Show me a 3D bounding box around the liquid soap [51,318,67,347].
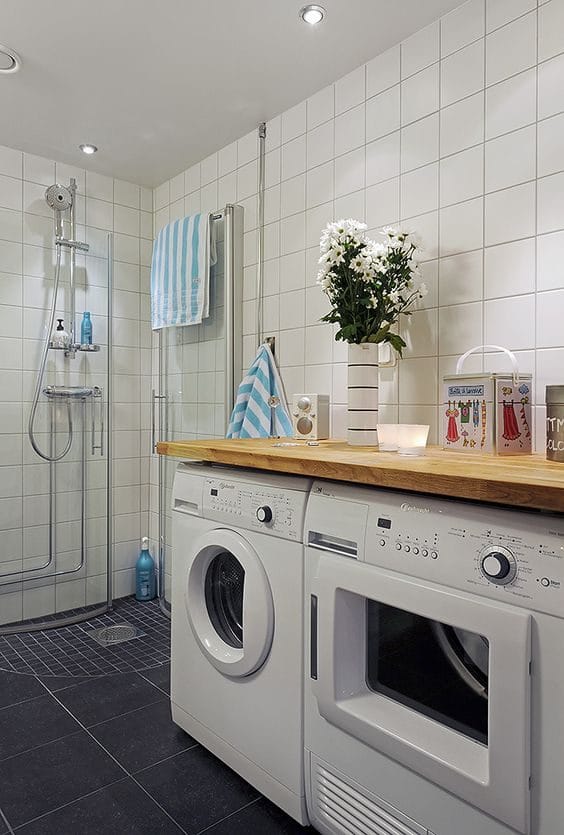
[{"bbox_3d":[-1.009,-0.387,2.753,0.069,0.145,0.096,0,0,-23],"label":"liquid soap"}]

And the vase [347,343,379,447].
[{"bbox_3d":[0.227,-0.065,1.685,0.076,0.284,0.055,0,0,0],"label":"vase"}]

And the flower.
[{"bbox_3d":[0.214,-0.342,1.803,0.324,0.511,0.343,1,-3,1],"label":"flower"}]

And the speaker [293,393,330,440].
[{"bbox_3d":[0.093,-0.001,1.950,0.119,0.143,0.132,0,0,9],"label":"speaker"}]

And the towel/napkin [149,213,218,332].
[{"bbox_3d":[-0.405,-0.605,2.548,0.110,0.562,0.473,8,-11,-38],"label":"towel/napkin"}]

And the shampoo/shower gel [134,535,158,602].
[{"bbox_3d":[-0.691,0.762,3.077,0.107,0.315,0.155,0,0,-19],"label":"shampoo/shower gel"}]

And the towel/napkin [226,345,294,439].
[{"bbox_3d":[-0.073,-0.078,2.295,0.272,0.547,0.222,0,-10,1],"label":"towel/napkin"}]

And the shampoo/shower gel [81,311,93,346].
[{"bbox_3d":[-0.921,-0.418,2.853,0.055,0.165,0.110,0,0,-17],"label":"shampoo/shower gel"}]
